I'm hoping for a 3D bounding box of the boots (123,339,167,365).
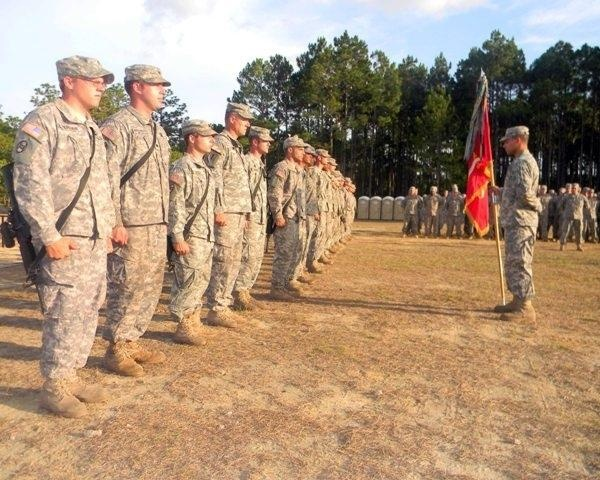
[{"bbox_3d":[-1.502,1.070,4.958,0.424,0.203,0.164,14,12,-19],"label":"boots"}]

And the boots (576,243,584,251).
[{"bbox_3d":[9.302,0.236,17.094,0.204,0.397,0.187,2,6,31],"label":"boots"}]

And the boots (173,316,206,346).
[{"bbox_3d":[-1.222,0.989,5.552,0.358,0.311,0.129,7,7,14],"label":"boots"}]

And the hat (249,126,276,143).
[{"bbox_3d":[-0.526,-1.504,7.108,0.321,0.162,0.238,10,7,8],"label":"hat"}]

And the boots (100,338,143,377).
[{"bbox_3d":[-1.635,1.077,4.708,0.406,0.271,0.156,10,-7,24],"label":"boots"}]

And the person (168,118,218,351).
[{"bbox_3d":[-1.174,-0.093,5.549,0.447,2.331,0.700,0,12,-10],"label":"person"}]

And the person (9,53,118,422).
[{"bbox_3d":[-1.799,-0.202,3.956,0.460,2.354,0.739,6,13,15],"label":"person"}]

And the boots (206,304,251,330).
[{"bbox_3d":[-0.832,0.947,6.398,0.613,0.334,0.214,0,10,3],"label":"boots"}]

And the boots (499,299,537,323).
[{"bbox_3d":[3.000,0.978,7.073,0.404,0.297,0.294,1,0,4],"label":"boots"}]

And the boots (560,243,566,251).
[{"bbox_3d":[8.768,0.219,17.161,0.199,0.311,0.172,0,5,-19],"label":"boots"}]

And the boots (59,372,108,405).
[{"bbox_3d":[-1.713,1.151,4.119,0.395,0.319,0.150,1,14,-13],"label":"boots"}]

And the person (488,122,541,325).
[{"bbox_3d":[3.059,-0.230,7.130,0.570,2.588,0.863,4,12,5],"label":"person"}]

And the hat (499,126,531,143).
[{"bbox_3d":[3.021,-1.563,7.271,0.417,0.197,0.313,-7,2,29],"label":"hat"}]
